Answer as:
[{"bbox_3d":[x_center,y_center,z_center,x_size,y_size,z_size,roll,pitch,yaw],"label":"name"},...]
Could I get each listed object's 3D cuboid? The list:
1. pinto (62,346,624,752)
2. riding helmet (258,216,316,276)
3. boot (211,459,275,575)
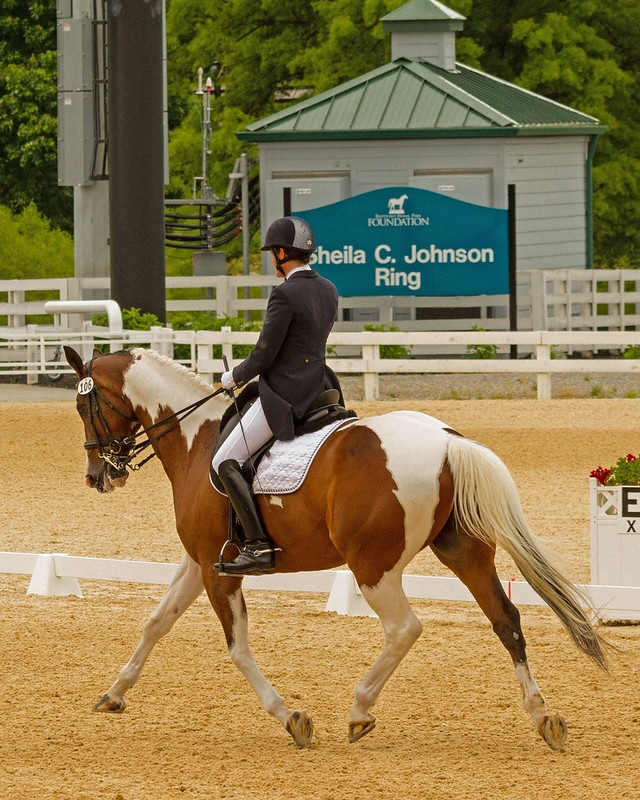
[{"bbox_3d":[0.008,0.909,11.231,3.353,2.228,1.005,3,9,24],"label":"pinto"},{"bbox_3d":[-0.201,-0.985,11.439,0.237,0.379,0.215,10,20,29],"label":"riding helmet"},{"bbox_3d":[-0.452,0.726,11.317,0.342,0.683,0.470,-5,13,-17],"label":"boot"}]
